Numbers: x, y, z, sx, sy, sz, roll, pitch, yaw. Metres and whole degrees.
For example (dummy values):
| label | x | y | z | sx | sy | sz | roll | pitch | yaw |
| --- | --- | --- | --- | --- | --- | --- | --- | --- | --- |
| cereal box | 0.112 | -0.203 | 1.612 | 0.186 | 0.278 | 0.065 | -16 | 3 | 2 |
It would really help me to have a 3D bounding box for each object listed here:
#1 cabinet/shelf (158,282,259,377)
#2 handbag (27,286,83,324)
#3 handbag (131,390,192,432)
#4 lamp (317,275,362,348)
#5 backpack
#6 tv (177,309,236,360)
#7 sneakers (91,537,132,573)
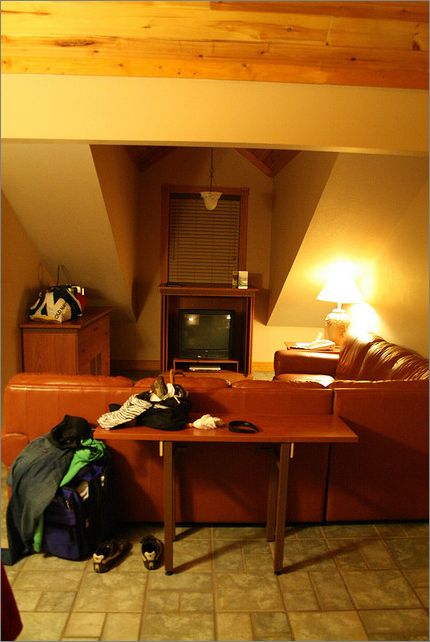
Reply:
| label | x | y | z | sx | sy | sz | roll | pitch | yaw |
| --- | --- | --- | --- | --- | --- | --- | --- | --- | --- |
| cabinet/shelf | -0.098 | 0.084 | 5.705 | 1.055 | 1.042 | 0.449 | 0 | 3 | -1 |
| handbag | -1.272 | -0.144 | 4.225 | 0.481 | 0.283 | 0.337 | -4 | 10 | -37 |
| handbag | -0.232 | 0.390 | 2.284 | 0.237 | 0.153 | 0.204 | 2 | 8 | 2 |
| lamp | 1.187 | -0.107 | 4.923 | 0.451 | 0.681 | 0.458 | 7 | 3 | 24 |
| backpack | -0.598 | 0.879 | 2.469 | 0.321 | 0.433 | 0.434 | 3 | 4 | 22 |
| tv | -0.120 | 0.134 | 5.774 | 0.822 | 0.787 | 0.463 | 0 | 3 | 0 |
| sneakers | -0.464 | 1.064 | 2.358 | 0.068 | 0.085 | 0.193 | 3 | 6 | 17 |
